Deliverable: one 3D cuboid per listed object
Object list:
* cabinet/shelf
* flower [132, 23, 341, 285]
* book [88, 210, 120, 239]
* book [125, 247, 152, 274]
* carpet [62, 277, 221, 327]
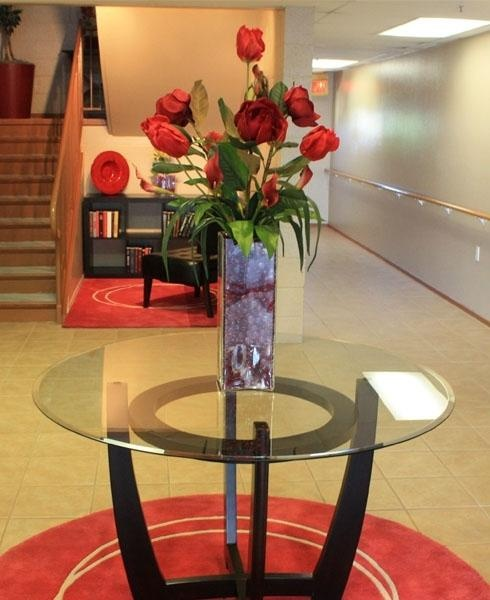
[{"bbox_3d":[-1.122,-0.663,5.259,1.498,0.997,0.426,-3,13,-13],"label":"cabinet/shelf"},{"bbox_3d":[-0.020,-0.294,1.111,0.450,0.485,0.414,-6,22,-26],"label":"flower"},{"bbox_3d":[-1.768,-0.946,6.380,0.343,0.437,0.454,1,5,-5],"label":"book"},{"bbox_3d":[-1.402,-0.525,6.405,0.392,0.471,0.499,1,7,-4],"label":"book"},{"bbox_3d":[-1.042,-0.050,5.674,1.888,0.011,2.001,4,15,1],"label":"carpet"}]
